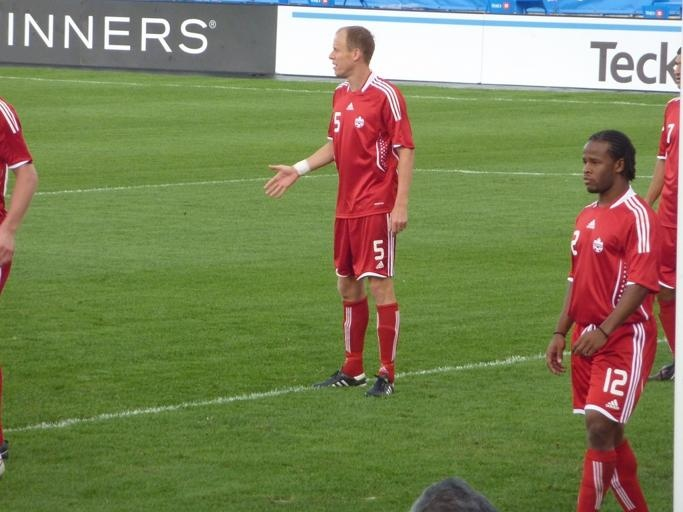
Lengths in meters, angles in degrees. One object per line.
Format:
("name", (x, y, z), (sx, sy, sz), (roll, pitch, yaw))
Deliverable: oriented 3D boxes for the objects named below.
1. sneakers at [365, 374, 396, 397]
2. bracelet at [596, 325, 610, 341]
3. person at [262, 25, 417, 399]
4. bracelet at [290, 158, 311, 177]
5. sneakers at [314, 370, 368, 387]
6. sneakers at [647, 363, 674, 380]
("sneakers", (0.299, 0.875, 9.423), (0.250, 0.141, 0.125), (-11, 16, -41))
("bracelet", (1.501, 0.430, 7.802), (0.065, 0.016, 0.067), (31, 15, -41))
("person", (0.085, -0.327, 9.491), (0.849, 2.464, 0.878), (-4, 13, -13))
("bracelet", (-0.276, -0.608, 9.683), (0.143, 0.111, 0.132), (-16, 16, 0))
("sneakers", (0.018, 0.855, 9.634), (0.415, 0.133, 0.123), (1, -8, -3))
("sneakers", (2.246, 0.822, 9.725), (0.271, 0.092, 0.087), (-14, -2, 16))
